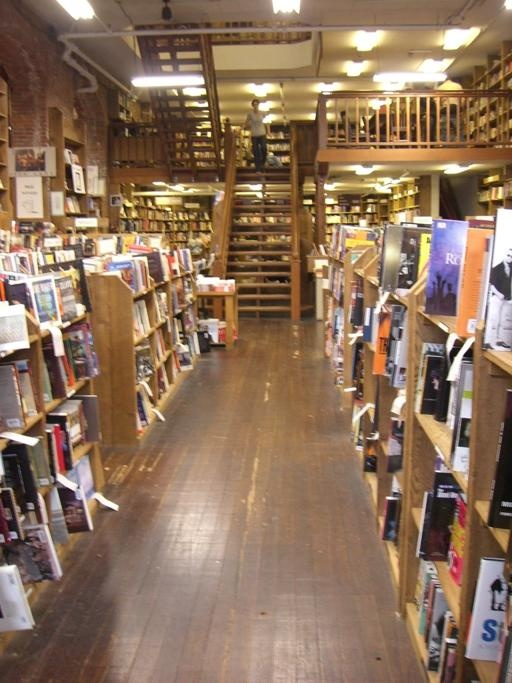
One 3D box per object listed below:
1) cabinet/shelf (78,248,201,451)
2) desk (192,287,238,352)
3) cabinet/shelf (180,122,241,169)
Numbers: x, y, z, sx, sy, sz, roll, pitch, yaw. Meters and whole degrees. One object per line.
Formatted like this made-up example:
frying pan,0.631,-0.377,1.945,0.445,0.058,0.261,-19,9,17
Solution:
cabinet/shelf,-0.917,0.079,3.849,0.325,0.655,1.748,-2,9,0
desk,-0.702,-0.392,7.749,0.796,1.194,1.245,0,13,3
cabinet/shelf,-1.198,-4.595,11.742,1.009,1.162,1.907,-2,17,1
